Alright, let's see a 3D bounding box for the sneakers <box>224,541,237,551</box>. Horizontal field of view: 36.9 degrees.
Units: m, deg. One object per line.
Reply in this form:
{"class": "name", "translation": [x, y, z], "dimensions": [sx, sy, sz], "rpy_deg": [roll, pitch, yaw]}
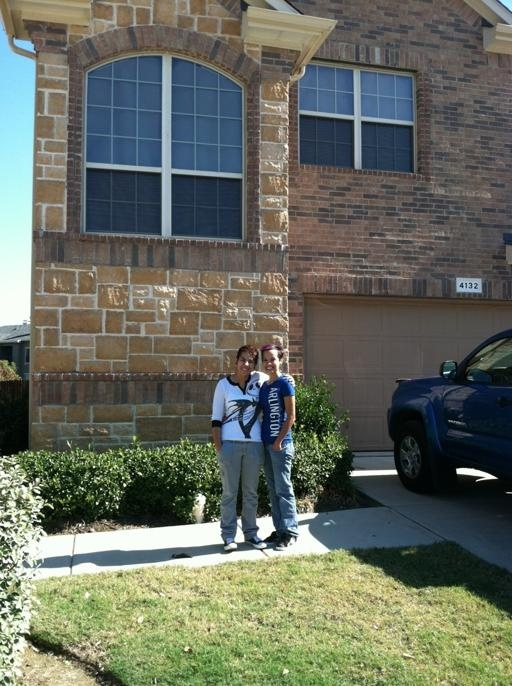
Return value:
{"class": "sneakers", "translation": [-0.188, 1.584, 5.993], "dimensions": [0.111, 0.062, 0.111], "rpy_deg": [-1, 3, -21]}

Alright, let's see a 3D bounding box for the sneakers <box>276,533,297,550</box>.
{"class": "sneakers", "translation": [0.235, 1.565, 6.040], "dimensions": [0.069, 0.094, 0.216], "rpy_deg": [-7, -18, 23]}

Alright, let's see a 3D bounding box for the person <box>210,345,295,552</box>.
{"class": "person", "translation": [-0.006, 0.819, 6.118], "dimensions": [0.666, 1.588, 0.360], "rpy_deg": [0, 1, -2]}
